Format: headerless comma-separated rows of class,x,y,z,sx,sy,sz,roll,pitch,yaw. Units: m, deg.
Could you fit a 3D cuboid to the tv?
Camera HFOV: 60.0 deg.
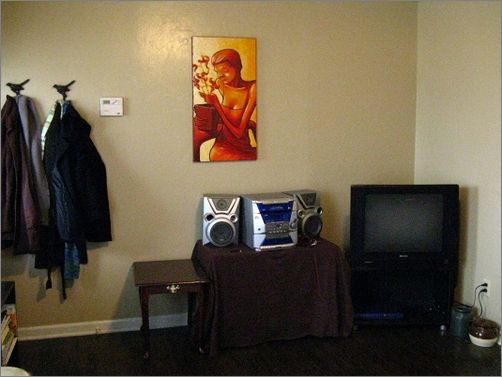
tv,1.315,0.285,3.824,1.019,0.829,0.585,0,-2,1

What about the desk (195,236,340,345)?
desk,0.226,0.873,3.524,0.967,0.581,0.796,-1,3,-14

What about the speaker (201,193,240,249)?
speaker,-0.257,0.278,3.614,0.333,0.517,0.389,1,-2,-11

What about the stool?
stool,-0.659,1.021,3.644,0.626,0.687,0.685,0,3,-12
